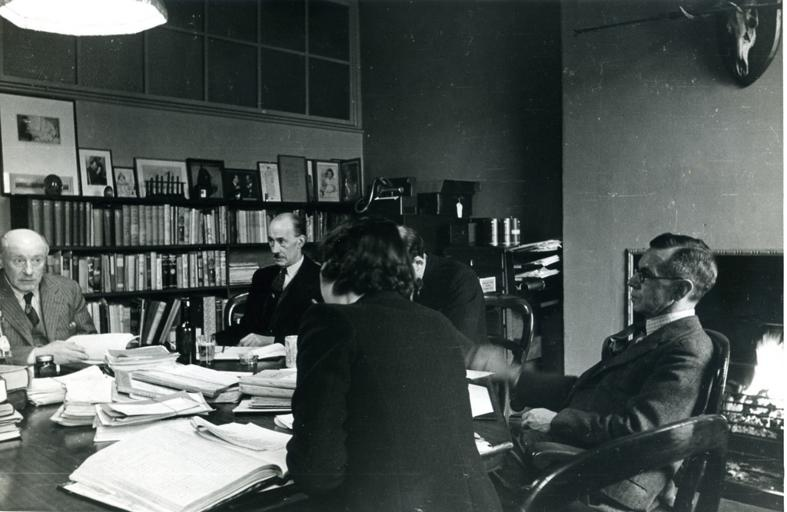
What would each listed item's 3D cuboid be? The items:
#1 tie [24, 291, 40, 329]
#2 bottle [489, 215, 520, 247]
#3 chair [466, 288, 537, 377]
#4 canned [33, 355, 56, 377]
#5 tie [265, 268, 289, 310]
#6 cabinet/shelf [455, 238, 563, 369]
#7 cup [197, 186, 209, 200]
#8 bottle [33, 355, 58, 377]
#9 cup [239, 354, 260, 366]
[{"bbox_3d":[-1.642,0.243,3.679,0.050,0.198,0.054,-10,-12,-19],"label":"tie"},{"bbox_3d":[0.438,-0.104,3.132,0.147,0.138,0.081,1,-1,-15],"label":"bottle"},{"bbox_3d":[0.492,0.287,3.207,0.291,0.345,0.242,5,13,22],"label":"chair"},{"bbox_3d":[-1.318,0.416,3.073,0.077,0.103,0.081,1,-5,-19],"label":"canned"},{"bbox_3d":[-0.568,0.158,3.979,0.096,0.173,0.042,8,-17,14],"label":"tie"},{"bbox_3d":[0.334,0.192,3.361,0.374,0.506,0.392,5,7,42],"label":"cabinet/shelf"},{"bbox_3d":[-1.009,-0.342,4.296,0.070,0.087,0.050,1,-1,13],"label":"cup"},{"bbox_3d":[-1.321,0.412,3.074,0.081,0.108,0.083,-1,-3,0],"label":"bottle"},{"bbox_3d":[-0.586,0.413,3.274,0.051,0.029,0.049,2,-4,0],"label":"cup"}]
